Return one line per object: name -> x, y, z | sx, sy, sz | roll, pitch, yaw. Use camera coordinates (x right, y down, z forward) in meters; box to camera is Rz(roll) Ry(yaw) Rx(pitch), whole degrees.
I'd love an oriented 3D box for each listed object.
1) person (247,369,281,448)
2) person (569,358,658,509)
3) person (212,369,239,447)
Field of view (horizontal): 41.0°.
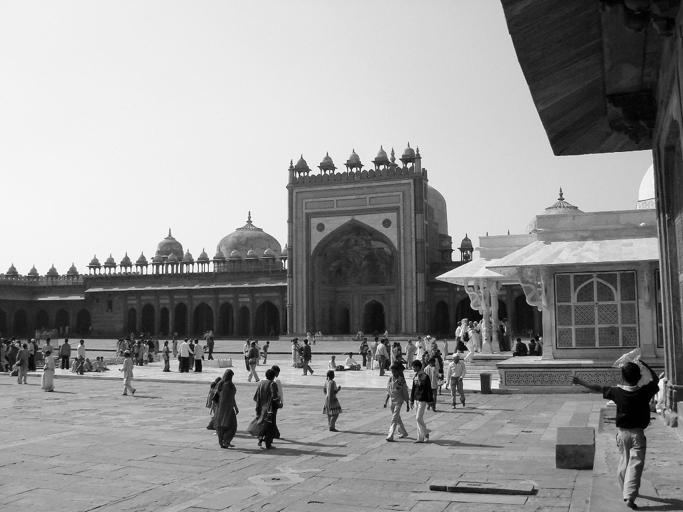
person -> -1.042, 2.053, 12.449 | 0.434, 1.077, 0.549 | -2, -8, -6
person -> 2.762, 1.683, 8.827 | 0.621, 1.323, 0.907 | -10, -11, 42
person -> -1.571, 2.074, 12.476 | 0.304, 1.045, 0.381 | -1, -8, -8
